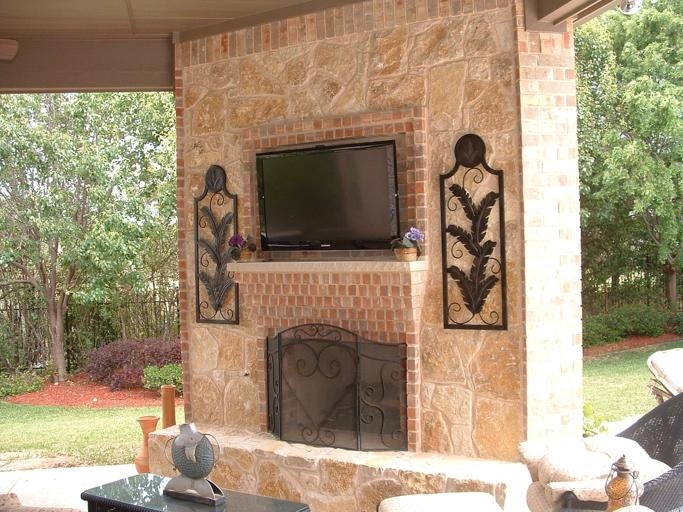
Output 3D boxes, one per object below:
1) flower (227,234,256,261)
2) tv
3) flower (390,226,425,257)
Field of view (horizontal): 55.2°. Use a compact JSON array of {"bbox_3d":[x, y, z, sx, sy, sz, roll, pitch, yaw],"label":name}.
[{"bbox_3d":[-1.033,-0.090,6.782,0.305,0.259,0.193,-6,5,2],"label":"flower"},{"bbox_3d":[-0.072,-0.594,6.388,0.965,0.746,0.080,-2,6,23],"label":"tv"},{"bbox_3d":[0.620,-0.115,6.101,0.312,0.288,0.277,-5,5,14],"label":"flower"}]
